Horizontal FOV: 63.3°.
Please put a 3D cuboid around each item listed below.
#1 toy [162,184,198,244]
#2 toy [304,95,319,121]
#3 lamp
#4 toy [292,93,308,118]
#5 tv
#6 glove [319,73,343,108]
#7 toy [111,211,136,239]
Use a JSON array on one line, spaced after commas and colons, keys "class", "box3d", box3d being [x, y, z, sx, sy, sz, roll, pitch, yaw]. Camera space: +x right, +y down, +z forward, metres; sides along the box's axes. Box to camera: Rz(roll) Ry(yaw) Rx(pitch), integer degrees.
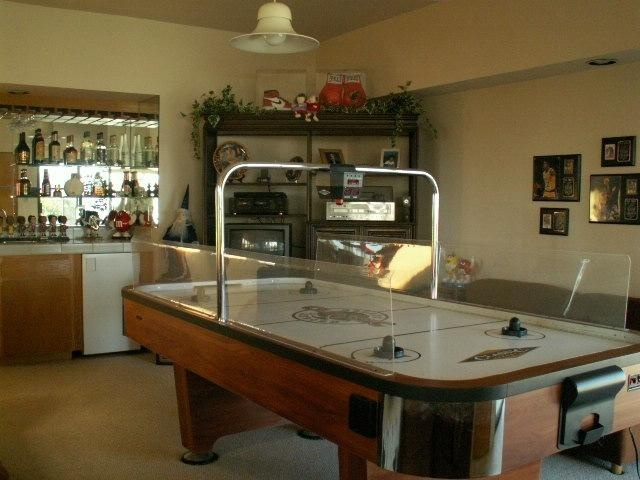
[{"class": "toy", "box3d": [-1.513, -0.297, 5.617, 0.345, 0.599, 0.451, -1, 5, -16]}, {"class": "toy", "box3d": [-0.085, -1.370, 5.430, 0.143, 0.272, 0.117, 0, 5, -6]}, {"class": "lamp", "box3d": [-0.291, -1.377, 3.331, 0.469, 0.269, 0.394, -4, 7, -40]}, {"class": "toy", "box3d": [-0.204, -1.400, 5.419, 0.178, 0.249, 0.087, 0, -6, 6]}, {"class": "tv", "box3d": [-0.612, 0.166, 5.281, 0.688, 0.654, 0.374, 0, 1, -5]}, {"class": "glove", "box3d": [0.131, -1.601, 5.519, 0.218, 0.366, 0.140, 3, 4, -3]}, {"class": "toy", "box3d": [-2.132, -0.175, 5.677, 0.289, 0.371, 0.277, 2, 3, -34]}]
